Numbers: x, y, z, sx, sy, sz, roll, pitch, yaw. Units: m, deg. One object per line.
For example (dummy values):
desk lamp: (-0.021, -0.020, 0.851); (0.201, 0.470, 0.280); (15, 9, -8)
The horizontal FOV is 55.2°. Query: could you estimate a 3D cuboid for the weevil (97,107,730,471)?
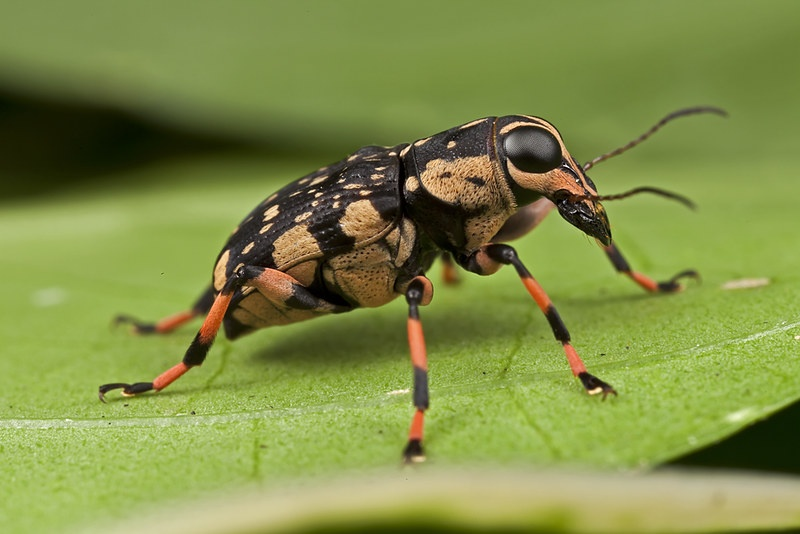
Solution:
weevil: (-0.029, -0.117, 6.450); (5.334, 1.658, 3.525); (-6, 15, 11)
